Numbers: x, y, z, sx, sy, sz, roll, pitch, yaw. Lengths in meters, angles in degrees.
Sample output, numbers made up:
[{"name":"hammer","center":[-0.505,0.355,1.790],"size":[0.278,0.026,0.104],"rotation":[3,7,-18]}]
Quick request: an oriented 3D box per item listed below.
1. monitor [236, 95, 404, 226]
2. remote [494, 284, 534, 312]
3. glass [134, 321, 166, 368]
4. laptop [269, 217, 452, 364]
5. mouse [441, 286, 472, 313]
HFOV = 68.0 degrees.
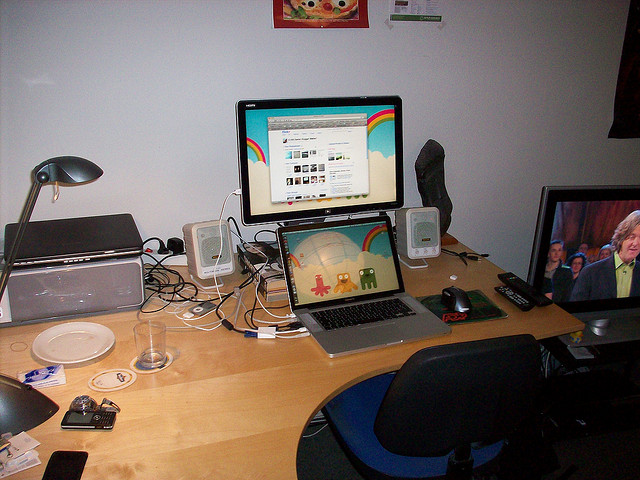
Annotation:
[{"name":"monitor","center":[0.011,-0.301,1.749],"size":[0.627,0.433,0.069],"rotation":[-8,17,-16]},{"name":"remote","center":[0.693,0.199,1.682],"size":[0.046,0.021,0.108],"rotation":[-10,33,-17]},{"name":"glass","center":[-0.503,0.307,1.413],"size":[0.119,0.126,0.108],"rotation":[-10,21,-28]},{"name":"laptop","center":[0.142,0.146,1.557],"size":[0.479,0.293,0.479],"rotation":[-10,26,-20]},{"name":"mouse","center":[0.464,0.203,1.613],"size":[0.060,0.058,0.099],"rotation":[-10,24,-24]}]
